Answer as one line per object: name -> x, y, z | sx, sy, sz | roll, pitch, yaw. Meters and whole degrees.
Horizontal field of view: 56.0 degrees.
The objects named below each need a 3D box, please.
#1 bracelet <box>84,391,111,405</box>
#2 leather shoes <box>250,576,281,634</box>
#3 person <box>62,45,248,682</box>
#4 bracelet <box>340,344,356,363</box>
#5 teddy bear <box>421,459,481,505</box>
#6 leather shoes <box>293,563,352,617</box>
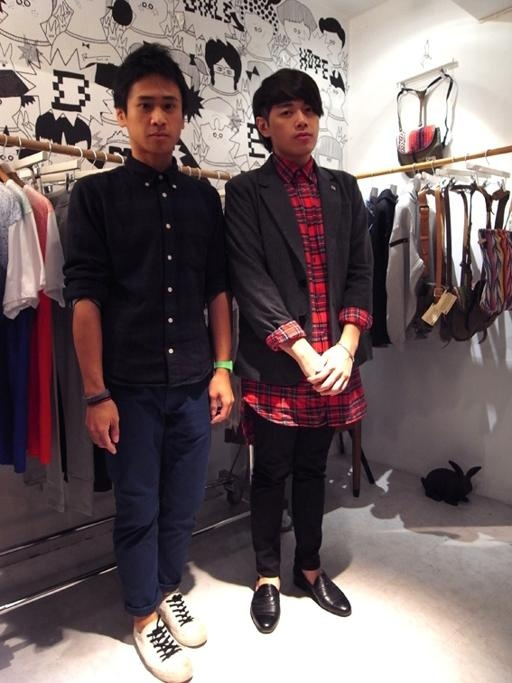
bracelet -> -0.382, 0.139, 1.172 | 0.060, 0.039, 0.042 | -3, 4, -25
leather shoes -> 0.031, 0.804, 1.455 | 0.052, 0.059, 0.141 | 0, 5, 3
person -> -0.259, -0.009, 1.288 | 0.459, 1.502, 0.209 | -3, 3, -24
bracelet -> 0.263, 0.034, 1.363 | 0.052, 0.015, 0.052 | 45, 5, 30
teddy bear -> 0.937, 0.673, 2.375 | 0.246, 0.232, 0.147 | 4, 6, 43
leather shoes -> 0.221, 0.803, 1.589 | 0.070, 0.092, 0.208 | -11, 19, -37
